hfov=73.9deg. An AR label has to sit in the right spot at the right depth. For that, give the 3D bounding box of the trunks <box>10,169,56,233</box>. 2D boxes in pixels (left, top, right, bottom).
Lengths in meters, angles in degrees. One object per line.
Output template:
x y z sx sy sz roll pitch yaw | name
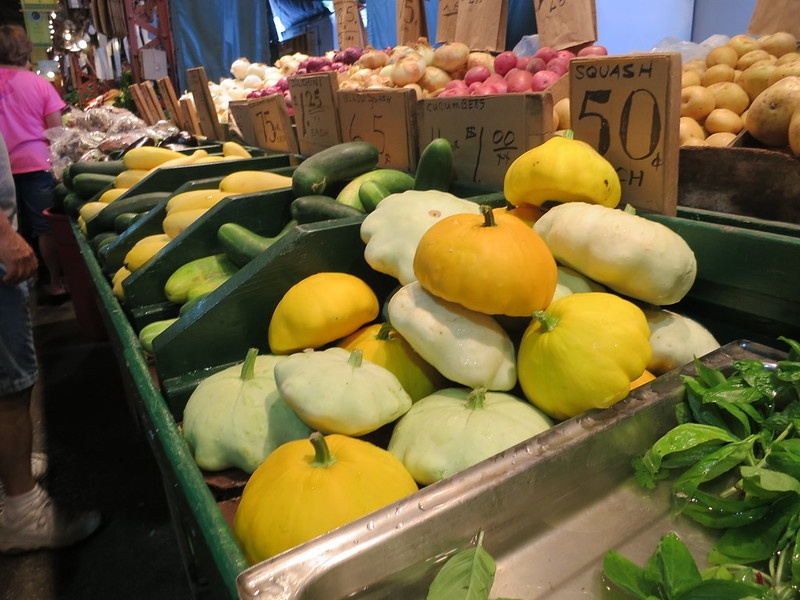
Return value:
-3.623 -1.001 5.178 0.333 0.622 0.230 -11 -7 -1 | trunks
